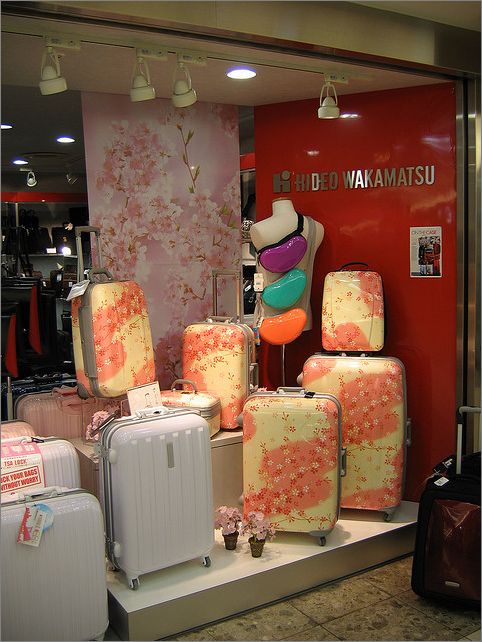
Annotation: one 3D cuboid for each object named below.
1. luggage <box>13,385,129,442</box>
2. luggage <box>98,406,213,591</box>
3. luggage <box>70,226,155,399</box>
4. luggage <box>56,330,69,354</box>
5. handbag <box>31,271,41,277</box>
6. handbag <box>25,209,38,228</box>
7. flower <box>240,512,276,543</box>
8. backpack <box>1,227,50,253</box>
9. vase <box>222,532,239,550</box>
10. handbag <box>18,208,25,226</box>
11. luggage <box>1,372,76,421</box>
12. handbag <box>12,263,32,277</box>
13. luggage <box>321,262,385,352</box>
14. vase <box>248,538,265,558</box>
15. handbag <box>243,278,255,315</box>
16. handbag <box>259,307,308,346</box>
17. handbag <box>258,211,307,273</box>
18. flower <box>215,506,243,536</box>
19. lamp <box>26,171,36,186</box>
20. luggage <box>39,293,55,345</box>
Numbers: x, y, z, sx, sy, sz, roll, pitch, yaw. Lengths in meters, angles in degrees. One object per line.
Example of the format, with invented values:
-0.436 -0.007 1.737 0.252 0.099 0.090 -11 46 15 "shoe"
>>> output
-0.805 0.442 2.465 0.313 0.292 0.107 -6 20 -32 "luggage"
-0.337 0.696 2.084 0.426 0.664 0.210 -7 6 -38 "luggage"
-0.616 -0.041 2.387 0.367 0.808 0.536 -4 5 -7 "luggage"
-1.104 0.140 3.246 0.054 0.165 0.132 -7 6 -37 "luggage"
-1.313 -0.297 3.327 0.048 0.062 0.023 0 -6 0 "handbag"
-1.384 -0.660 3.419 0.079 0.125 0.047 -2 -15 -10 "handbag"
0.073 0.884 2.243 0.147 0.099 0.142 16 -21 7 "flower"
-1.384 -0.515 3.348 0.278 0.169 0.102 -5 5 -19 "backpack"
-0.048 0.970 2.348 0.086 0.067 0.083 1 3 2 "vase"
-1.440 -0.681 3.421 0.051 0.117 0.094 -5 5 -20 "handbag"
-1.133 0.417 2.859 0.326 0.311 0.116 -9 19 -37 "luggage"
-1.398 -0.323 3.331 0.115 0.077 0.058 -4 5 -17 "handbag"
0.606 -0.046 2.838 0.324 0.446 0.207 -2 5 10 "luggage"
0.067 0.967 2.280 0.091 0.089 0.087 2 10 4 "vase"
0.053 -0.170 3.663 0.151 0.206 0.213 0 1 0 "handbag"
0.234 0.040 2.947 0.274 0.209 0.146 -2 5 15 "handbag"
0.227 -0.431 2.992 0.234 0.287 0.128 1 10 -39 "handbag"
-0.050 0.892 2.344 0.115 0.153 0.149 -3 5 0 "flower"
-1.394 -0.937 3.448 0.063 0.111 0.067 -5 5 -22 "lamp"
-1.227 -0.017 3.251 0.046 0.395 0.122 -8 32 -29 "luggage"
